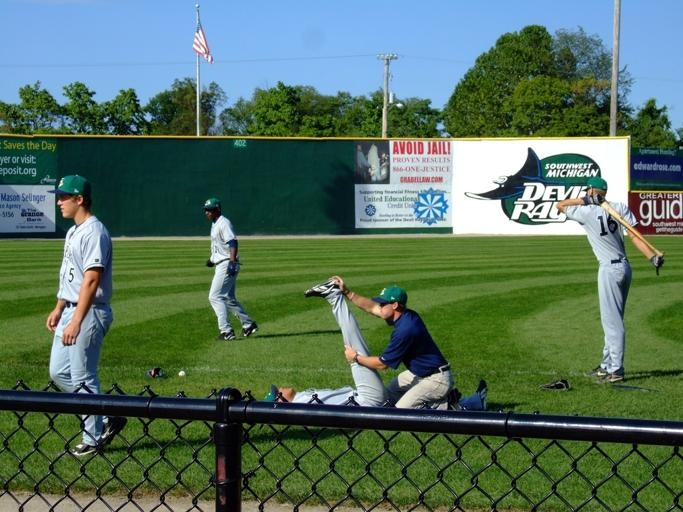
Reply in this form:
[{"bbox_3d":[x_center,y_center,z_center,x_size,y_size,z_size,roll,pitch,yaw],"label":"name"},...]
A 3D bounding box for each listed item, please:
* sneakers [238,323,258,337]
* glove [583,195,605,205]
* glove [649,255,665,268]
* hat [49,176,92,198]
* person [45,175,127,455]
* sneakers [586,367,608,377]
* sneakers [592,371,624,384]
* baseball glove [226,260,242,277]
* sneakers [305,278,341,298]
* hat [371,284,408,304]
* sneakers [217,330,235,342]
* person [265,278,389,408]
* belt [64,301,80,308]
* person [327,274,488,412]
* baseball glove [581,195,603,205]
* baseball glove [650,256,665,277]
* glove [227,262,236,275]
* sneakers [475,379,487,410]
[{"bbox_3d":[-1.414,1.098,15.356,0.241,0.188,0.328,-2,8,-6],"label":"sneakers"},{"bbox_3d":[3.333,-0.732,13.221,0.134,0.076,0.171,2,-2,-16],"label":"glove"},{"bbox_3d":[4.170,0.082,13.174,0.150,0.202,0.458,-2,5,11],"label":"glove"},{"bbox_3d":[-2.903,-0.746,10.675,0.355,0.208,0.255,-1,3,-12],"label":"hat"},{"bbox_3d":[-2.739,0.645,10.581,0.760,2.941,1.157,-4,8,-17],"label":"person"},{"bbox_3d":[3.327,1.495,12.935,0.235,0.113,0.089,-1,-6,30],"label":"sneakers"},{"bbox_3d":[3.401,1.547,12.775,0.390,0.181,0.137,2,0,0],"label":"sneakers"},{"bbox_3d":[-1.664,0.179,15.362,0.174,0.177,0.195,-3,3,1],"label":"baseball glove"},{"bbox_3d":[-0.207,0.362,10.817,0.307,0.138,0.229,-26,-15,21],"label":"sneakers"},{"bbox_3d":[0.548,0.424,11.081,0.351,0.238,0.500,0,8,10],"label":"hat"},{"bbox_3d":[-1.718,1.197,14.983,0.305,0.148,0.108,-2,3,17],"label":"sneakers"},{"bbox_3d":[-0.063,0.998,10.827,1.092,1.504,2.224,-2,8,-7],"label":"person"},{"bbox_3d":[-2.888,0.509,10.633,0.094,0.067,0.075,-2,-2,-11],"label":"belt"},{"bbox_3d":[0.768,1.070,11.130,1.617,1.647,0.800,-3,5,13],"label":"person"},{"bbox_3d":[3.337,-0.746,13.230,0.141,0.113,0.183,1,4,-24],"label":"baseball glove"},{"bbox_3d":[5.394,0.188,17.065,0.249,0.452,0.209,1,2,-13],"label":"baseball glove"},{"bbox_3d":[-1.674,0.180,15.271,0.166,0.257,0.166,1,-4,5],"label":"glove"},{"bbox_3d":[1.579,1.532,11.115,0.118,0.417,0.160,4,-18,10],"label":"sneakers"}]
